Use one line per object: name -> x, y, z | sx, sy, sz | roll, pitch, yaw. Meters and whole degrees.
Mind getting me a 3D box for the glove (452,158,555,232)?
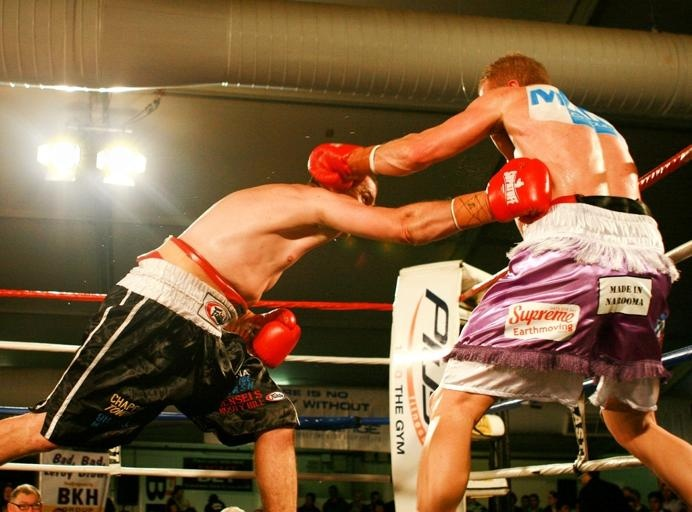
glove -> 0.740, -0.267, 3.255 | 0.457, 0.286, 0.170 | -17, -46, 35
